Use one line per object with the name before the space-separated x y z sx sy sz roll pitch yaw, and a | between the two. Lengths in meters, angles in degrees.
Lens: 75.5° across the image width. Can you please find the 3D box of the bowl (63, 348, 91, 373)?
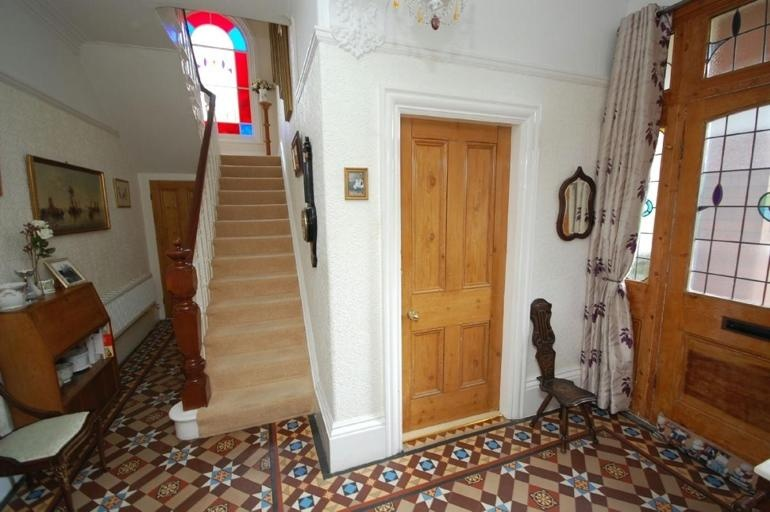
bowl | -3.146 1.061 5.115 0.221 0.201 0.204 0 10 0

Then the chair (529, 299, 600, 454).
chair | 1.803 1.117 4.934 0.651 1.349 0.593 -3 11 -16

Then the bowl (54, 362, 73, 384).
bowl | -3.202 1.162 4.989 0.173 0.139 0.183 2 3 0

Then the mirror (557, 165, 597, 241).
mirror | 1.937 -0.527 5.021 0.440 0.733 0.072 -4 11 -19

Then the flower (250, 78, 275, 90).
flower | -2.040 -2.858 8.348 0.223 0.099 0.339 12 17 36

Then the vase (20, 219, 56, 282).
vase | -3.482 -0.053 5.011 0.282 0.613 0.241 9 14 42

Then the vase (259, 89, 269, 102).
vase | -2.032 -2.700 8.376 0.155 0.196 0.125 -3 11 -14

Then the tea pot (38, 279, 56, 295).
tea pot | -3.432 0.312 5.075 0.152 0.147 0.053 -8 -4 -41
